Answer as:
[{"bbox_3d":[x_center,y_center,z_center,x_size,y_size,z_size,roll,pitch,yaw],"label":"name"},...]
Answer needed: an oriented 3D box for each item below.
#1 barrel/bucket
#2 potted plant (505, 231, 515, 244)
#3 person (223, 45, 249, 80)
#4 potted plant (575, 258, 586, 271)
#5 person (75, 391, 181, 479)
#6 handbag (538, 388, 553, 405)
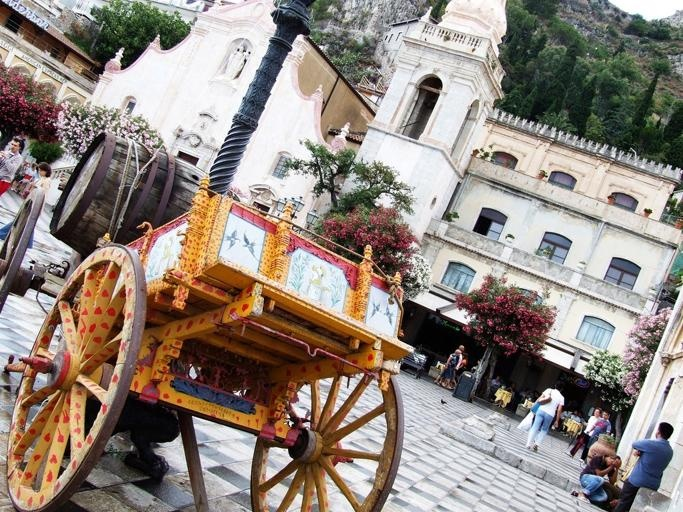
[{"bbox_3d":[-3.775,-0.567,12.137,2.960,2.224,2.457,-11,-26,-31],"label":"barrel/bucket"},{"bbox_3d":[8.825,-0.972,36.915,0.556,0.426,0.552,0,10,-27],"label":"potted plant"},{"bbox_3d":[-5.913,-10.827,39.280,0.999,2.149,0.337,20,-5,13],"label":"person"},{"bbox_3d":[12.480,0.458,36.434,0.451,0.582,1.406,20,-6,17],"label":"potted plant"},{"bbox_3d":[-2.158,1.937,7.652,0.925,0.337,1.104,39,7,39],"label":"person"},{"bbox_3d":[5.024,3.414,17.215,0.306,0.329,0.436,20,-6,19],"label":"handbag"}]
